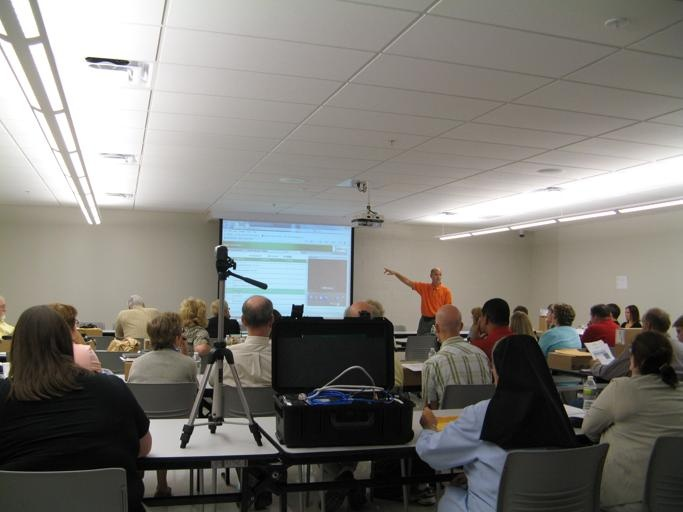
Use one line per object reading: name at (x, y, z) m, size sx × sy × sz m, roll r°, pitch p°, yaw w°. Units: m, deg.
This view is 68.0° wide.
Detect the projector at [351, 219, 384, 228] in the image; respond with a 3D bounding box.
projector at (0.444, -0.567, 8.737) m, size 0.334 × 0.081 × 0.334 m, roll 2°, pitch -4°, yaw -24°

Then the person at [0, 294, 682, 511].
person at (-0.273, 0.734, 2.385) m, size 2.485 × 0.966 × 0.731 m, roll 2°, pitch -4°, yaw -12°

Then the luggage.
luggage at (-0.026, 0.628, 2.949) m, size 0.747 × 0.755 × 0.648 m, roll 1°, pitch -9°, yaw -12°
